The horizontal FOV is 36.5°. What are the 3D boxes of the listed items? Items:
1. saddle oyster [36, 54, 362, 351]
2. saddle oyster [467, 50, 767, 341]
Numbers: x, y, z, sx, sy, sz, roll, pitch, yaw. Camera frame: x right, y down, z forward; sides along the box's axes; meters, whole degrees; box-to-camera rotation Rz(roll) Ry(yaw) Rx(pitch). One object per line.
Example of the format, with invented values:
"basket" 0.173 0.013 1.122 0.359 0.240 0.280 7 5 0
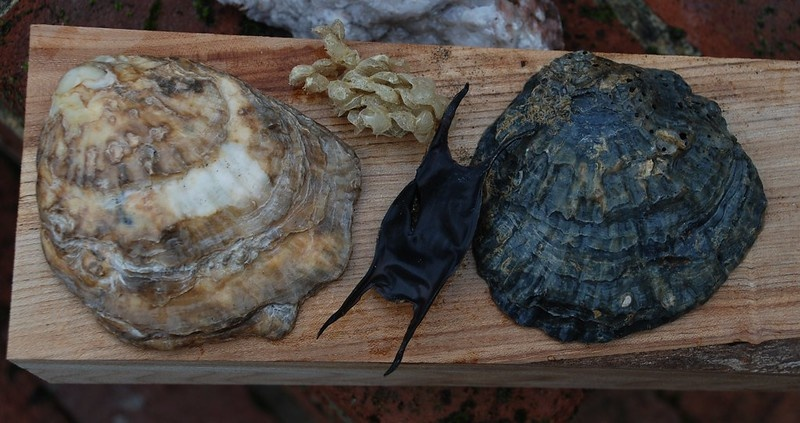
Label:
"saddle oyster" -0.787 -0.030 4.511 0.920 1.231 0.708 -1 7 -32
"saddle oyster" 0.771 -0.061 4.723 0.936 1.169 0.766 1 4 -20
